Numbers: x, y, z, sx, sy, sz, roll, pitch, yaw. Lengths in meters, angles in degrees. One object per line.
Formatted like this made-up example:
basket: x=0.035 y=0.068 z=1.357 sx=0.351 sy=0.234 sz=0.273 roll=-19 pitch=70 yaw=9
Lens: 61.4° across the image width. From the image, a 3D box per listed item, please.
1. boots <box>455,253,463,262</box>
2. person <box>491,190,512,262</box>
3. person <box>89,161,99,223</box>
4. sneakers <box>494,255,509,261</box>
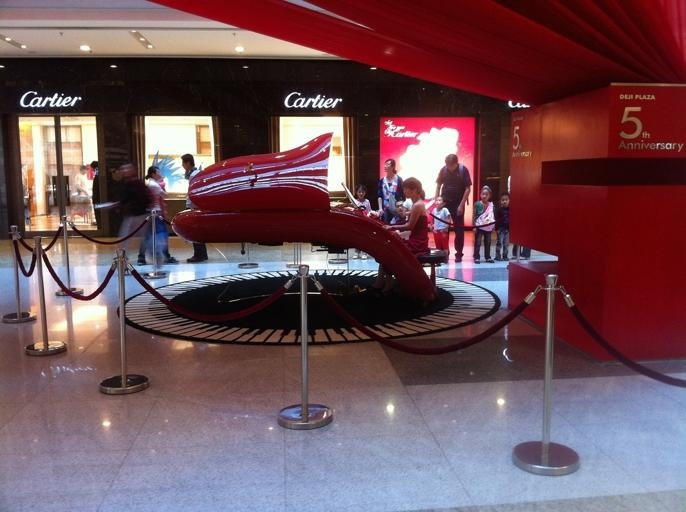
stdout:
boots: x=2.059 y=0.023 z=10.277 sx=0.113 sy=0.135 sz=0.192 roll=1 pitch=13 yaw=7
person: x=2.815 y=-0.482 z=10.248 sx=0.276 sy=1.133 sz=1.402 roll=3 pitch=13 yaw=15
person: x=-5.787 y=-1.506 z=13.724 sx=0.213 sy=1.448 sz=0.479 roll=-6 pitch=14 yaw=-23
sneakers: x=2.836 y=0.032 z=10.343 sx=0.291 sy=0.107 sz=0.095 roll=0 pitch=14 yaw=-5
